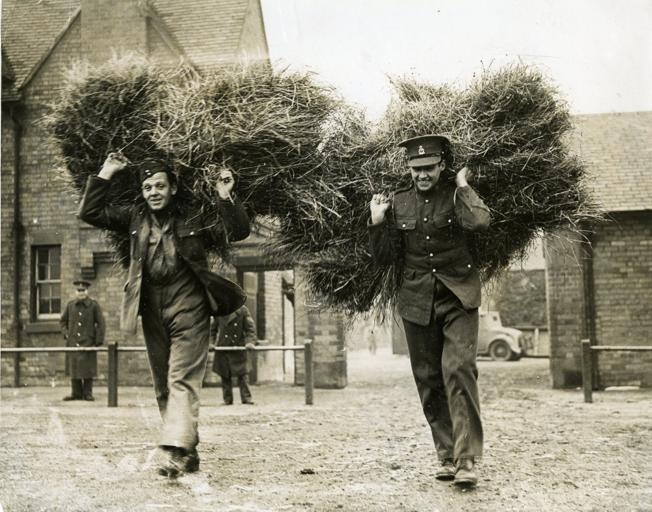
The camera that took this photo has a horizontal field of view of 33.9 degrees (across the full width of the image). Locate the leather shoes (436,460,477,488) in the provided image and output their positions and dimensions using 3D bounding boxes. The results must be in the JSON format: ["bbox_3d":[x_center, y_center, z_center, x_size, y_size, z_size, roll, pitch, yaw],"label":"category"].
[{"bbox_3d":[1.139,1.871,9.291,0.212,0.241,0.454,-2,3,-28],"label":"leather shoes"}]

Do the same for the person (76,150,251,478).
[{"bbox_3d":[-1.389,0.515,9.543,1.430,2.883,0.861,-1,3,1],"label":"person"}]

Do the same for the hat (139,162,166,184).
[{"bbox_3d":[-1.546,-0.742,9.528,0.187,0.133,0.192,-1,4,30],"label":"hat"}]

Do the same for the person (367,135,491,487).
[{"bbox_3d":[0.944,0.450,9.469,0.999,3.031,0.576,1,3,31],"label":"person"}]
